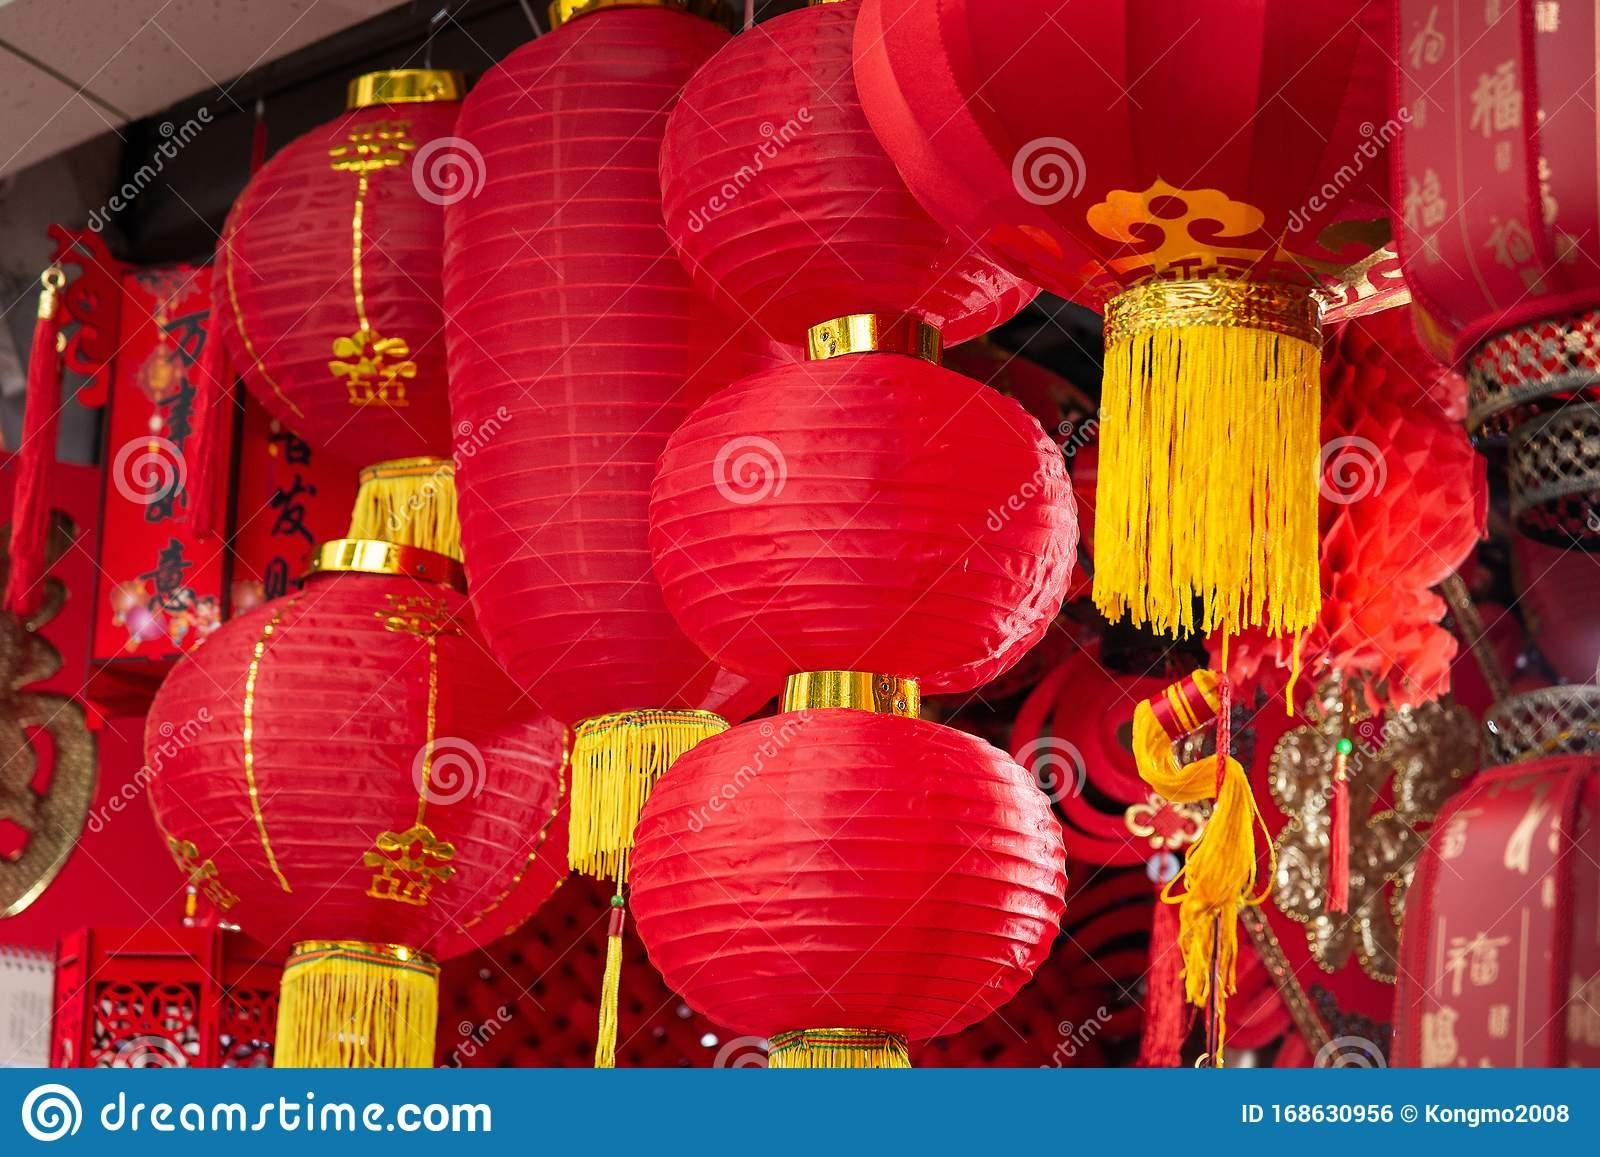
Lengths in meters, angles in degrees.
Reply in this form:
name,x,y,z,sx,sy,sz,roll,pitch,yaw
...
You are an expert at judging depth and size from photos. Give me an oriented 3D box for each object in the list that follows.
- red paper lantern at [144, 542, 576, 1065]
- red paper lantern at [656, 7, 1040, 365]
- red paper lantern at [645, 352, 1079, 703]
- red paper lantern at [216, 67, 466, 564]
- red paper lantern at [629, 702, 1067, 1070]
name,x,y,z,sx,sy,sz,roll,pitch,yaw
red paper lantern,-0.681,0.375,3.536,0.696,1.019,0.700,6,2,12
red paper lantern,0.033,-0.487,2.827,0.479,0.386,0.412,4,3,-31
red paper lantern,0.086,-0.071,2.658,0.452,0.382,0.452,2,-8,9
red paper lantern,-0.700,-0.427,3.622,0.584,0.885,0.552,0,1,-2
red paper lantern,0.063,0.368,2.621,0.490,0.401,0.458,-1,-9,3
